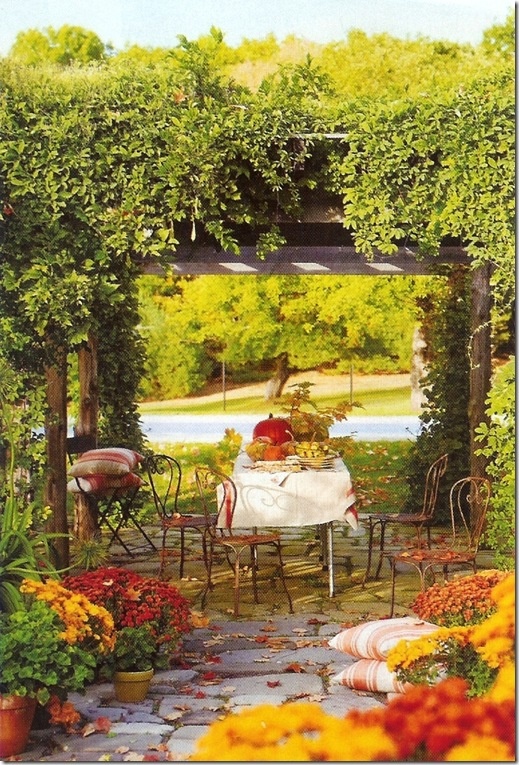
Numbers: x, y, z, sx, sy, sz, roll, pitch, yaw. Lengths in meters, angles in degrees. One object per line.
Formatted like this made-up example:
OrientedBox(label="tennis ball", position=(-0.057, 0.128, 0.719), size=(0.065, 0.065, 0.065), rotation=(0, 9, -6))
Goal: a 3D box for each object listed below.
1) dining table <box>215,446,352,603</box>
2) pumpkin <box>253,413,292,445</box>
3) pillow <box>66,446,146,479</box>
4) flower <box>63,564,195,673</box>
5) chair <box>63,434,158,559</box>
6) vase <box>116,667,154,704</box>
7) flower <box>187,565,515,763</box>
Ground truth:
OrientedBox(label="dining table", position=(0.156, 0.901, 7.356), size=(0.949, 0.516, 1.089), rotation=(-1, 1, 0))
OrientedBox(label="pumpkin", position=(0.088, 0.331, 8.054), size=(0.246, 0.204, 0.223), rotation=(0, -11, -5))
OrientedBox(label="pillow", position=(-1.121, 0.579, 8.377), size=(0.414, 0.139, 0.519), rotation=(-1, -1, -3))
OrientedBox(label="flower", position=(-0.629, 1.145, 5.710), size=(0.535, 0.354, 0.546), rotation=(3, -9, 14))
OrientedBox(label="chair", position=(-1.090, 0.810, 8.497), size=(0.544, 0.580, 0.649), rotation=(-7, 2, 4))
OrientedBox(label="vase", position=(-0.594, 1.460, 5.641), size=(0.191, 0.115, 0.173), rotation=(1, -4, -3))
OrientedBox(label="flower", position=(0.493, 1.304, 5.057), size=(1.335, 0.600, 0.511), rotation=(-1, 2, 0))
